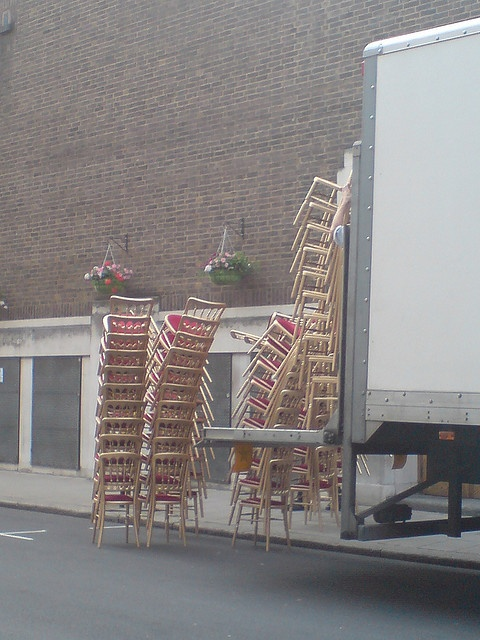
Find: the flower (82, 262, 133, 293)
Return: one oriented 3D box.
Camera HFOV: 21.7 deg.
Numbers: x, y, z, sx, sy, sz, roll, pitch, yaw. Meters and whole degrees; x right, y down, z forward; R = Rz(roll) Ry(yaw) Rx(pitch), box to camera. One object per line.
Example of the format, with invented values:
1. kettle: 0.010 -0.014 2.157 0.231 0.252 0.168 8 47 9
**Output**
1. flower: -2.109 -0.664 19.916 0.538 0.451 0.552 3 -6 -37
